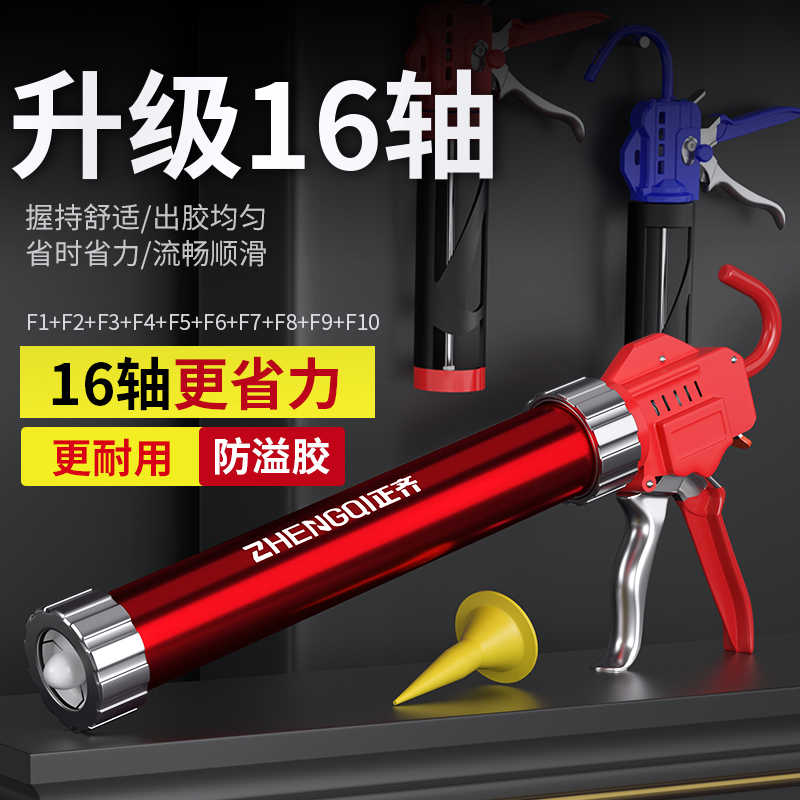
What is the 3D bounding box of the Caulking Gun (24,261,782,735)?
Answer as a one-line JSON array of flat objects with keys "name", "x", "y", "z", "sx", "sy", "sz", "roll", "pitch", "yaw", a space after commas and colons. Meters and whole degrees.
[{"name": "Caulking Gun", "x": 0.061, "y": 0.088, "z": 0.657, "sx": 0.583, "sy": 0.257, "sz": 0.070, "roll": -21, "pitch": 27, "yaw": -22}]
